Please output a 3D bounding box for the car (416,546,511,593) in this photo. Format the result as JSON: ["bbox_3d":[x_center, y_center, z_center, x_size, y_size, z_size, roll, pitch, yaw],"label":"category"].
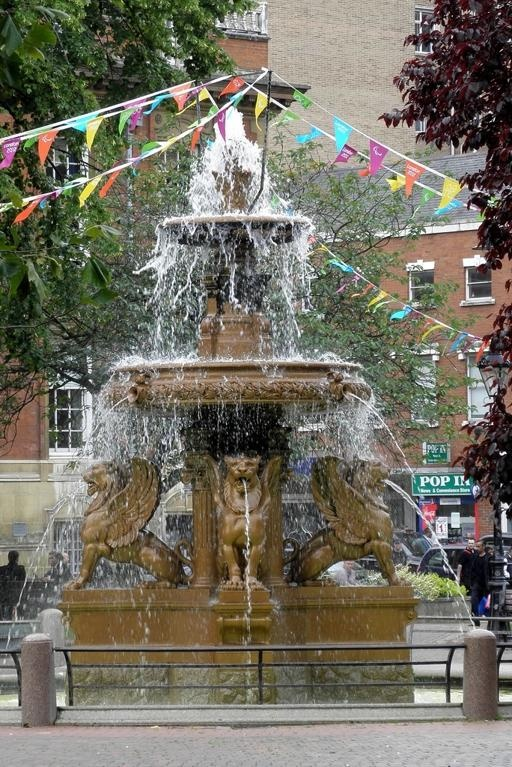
[{"bbox_3d":[3.685,3.486,32.439,1.461,0.888,0.872,-7,-7,33],"label":"car"}]
